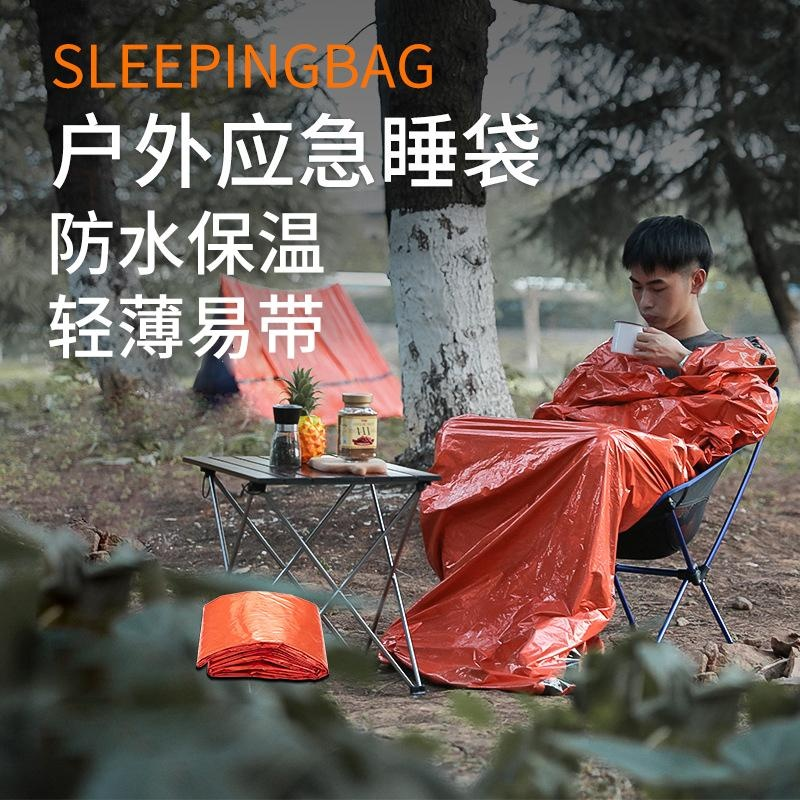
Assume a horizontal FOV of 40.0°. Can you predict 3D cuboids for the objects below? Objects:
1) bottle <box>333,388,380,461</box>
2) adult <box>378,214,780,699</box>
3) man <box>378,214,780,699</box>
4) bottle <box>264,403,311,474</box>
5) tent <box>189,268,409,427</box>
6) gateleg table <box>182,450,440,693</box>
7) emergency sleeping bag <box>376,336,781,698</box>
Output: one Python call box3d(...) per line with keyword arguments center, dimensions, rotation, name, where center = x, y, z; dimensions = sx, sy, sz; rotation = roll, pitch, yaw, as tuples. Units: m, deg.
box3d(center=(-0.107, 0.066, 2.639), dimensions=(0.093, 0.162, 0.212), rotation=(-1, 1, -4), name="bottle")
box3d(center=(0.496, 0.093, 2.868), dimensions=(1.025, 1.074, 0.806), rotation=(-1, 3, -44), name="adult")
box3d(center=(0.476, 0.085, 2.883), dimensions=(1.056, 1.110, 0.775), rotation=(0, 1, -36), name="man")
box3d(center=(-0.280, 0.094, 2.661), dimensions=(0.077, 0.159, 0.217), rotation=(-2, 1, -7), name="bottle")
box3d(center=(-0.626, -0.366, 7.948), dimensions=(1.359, 0.548, 1.319), rotation=(10, 9, -39), name="tent")
box3d(center=(-0.133, 0.402, 2.918), dimensions=(0.807, 0.674, 0.776), rotation=(0, 3, -8), name="gateleg table")
box3d(center=(0.395, 0.277, 3.053), dimensions=(1.112, 0.962, 0.744), rotation=(11, -5, -27), name="emergency sleeping bag")
